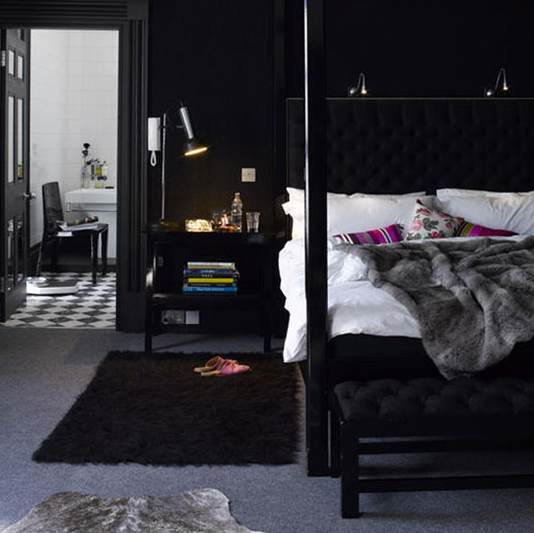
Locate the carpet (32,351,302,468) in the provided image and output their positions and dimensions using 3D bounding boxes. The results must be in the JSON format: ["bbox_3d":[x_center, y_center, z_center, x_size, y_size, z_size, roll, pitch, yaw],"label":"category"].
[{"bbox_3d":[-0.418,0.673,2.970,1.197,0.021,1.534,0,7,0],"label":"carpet"}]

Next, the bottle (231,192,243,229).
[{"bbox_3d":[-0.218,-0.412,4.159,0.097,0.269,0.204,0,6,-3],"label":"bottle"}]

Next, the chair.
[{"bbox_3d":[-2.147,-0.398,6.328,0.734,1.079,0.960,-2,7,-18],"label":"chair"}]

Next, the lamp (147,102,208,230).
[{"bbox_3d":[-0.628,-0.736,4.026,0.443,0.847,0.424,-1,6,-8],"label":"lamp"}]

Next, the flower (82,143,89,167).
[{"bbox_3d":[-2.249,-1.385,7.050,0.112,0.279,0.103,-1,6,-9],"label":"flower"}]

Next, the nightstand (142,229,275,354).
[{"bbox_3d":[-0.303,0.163,4.311,0.579,0.857,0.867,9,-13,-5],"label":"nightstand"}]
